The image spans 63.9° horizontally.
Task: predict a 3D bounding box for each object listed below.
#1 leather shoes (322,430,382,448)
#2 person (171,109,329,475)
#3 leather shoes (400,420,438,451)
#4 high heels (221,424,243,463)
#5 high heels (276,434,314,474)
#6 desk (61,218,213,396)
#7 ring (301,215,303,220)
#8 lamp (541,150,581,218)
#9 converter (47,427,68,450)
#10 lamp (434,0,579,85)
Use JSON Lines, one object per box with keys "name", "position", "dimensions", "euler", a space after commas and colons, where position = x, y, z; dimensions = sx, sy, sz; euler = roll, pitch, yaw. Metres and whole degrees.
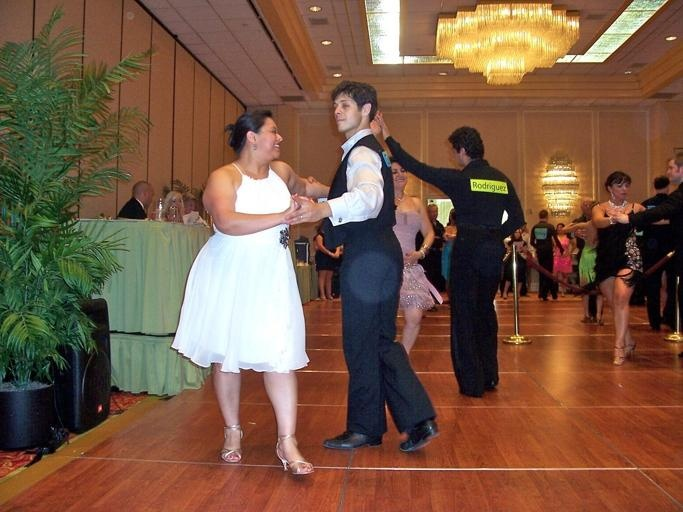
{"name": "leather shoes", "position": [0.061, 1.060, 3.176], "dimensions": [0.318, 0.156, 0.124], "euler": [3, -7, -4]}
{"name": "person", "position": [-0.513, 0.165, 2.925], "dimensions": [0.713, 1.918, 0.511], "euler": [0, 3, -4]}
{"name": "leather shoes", "position": [0.413, 1.017, 3.045], "dimensions": [0.084, 0.114, 0.257], "euler": [9, -48, -44]}
{"name": "high heels", "position": [-0.603, 1.010, 3.027], "dimensions": [0.105, 0.141, 0.329], "euler": [0, 10, -6]}
{"name": "high heels", "position": [-0.258, 1.044, 2.884], "dimensions": [0.101, 0.135, 0.287], "euler": [0, -5, -29]}
{"name": "desk", "position": [-1.360, 0.414, 4.469], "dimensions": [1.021, 1.451, 1.152], "euler": [0, -3, 1]}
{"name": "ring", "position": [-0.195, -0.193, 2.699], "dimensions": [0.004, 0.015, 0.011], "euler": [2, 24, 10]}
{"name": "lamp", "position": [5.557, -1.938, 13.852], "dimensions": [0.910, 1.852, 0.980], "euler": [-10, 15, -8]}
{"name": "converter", "position": [-1.630, 1.056, 3.141], "dimensions": [0.065, 0.045, 0.108], "euler": [5, 20, -3]}
{"name": "lamp", "position": [2.736, -3.583, 8.965], "dimensions": [1.328, 0.597, 1.455], "euler": [-1, -19, -1]}
